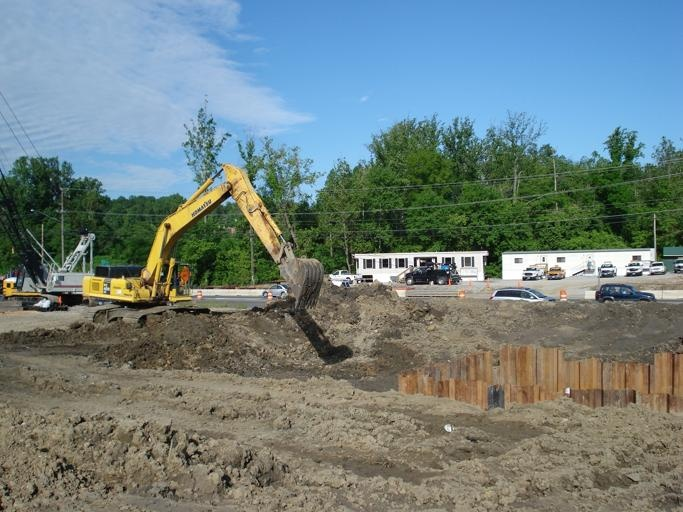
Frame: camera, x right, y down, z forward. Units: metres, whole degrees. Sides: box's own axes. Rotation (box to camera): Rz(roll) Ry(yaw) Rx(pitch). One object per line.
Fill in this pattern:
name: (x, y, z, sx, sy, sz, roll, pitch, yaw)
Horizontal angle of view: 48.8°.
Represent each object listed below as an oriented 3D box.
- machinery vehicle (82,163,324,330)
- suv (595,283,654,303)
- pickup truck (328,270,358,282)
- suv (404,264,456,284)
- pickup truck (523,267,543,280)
machinery vehicle: (-4.914, -0.133, 25.578, 8.668, 5.111, 3.159, -2, 0, 25)
suv: (12.914, 1.754, 34.623, 2.754, 1.162, 1.276, -3, 0, 22)
pickup truck: (0.150, 1.572, 55.460, 1.797, 0.713, 0.881, 4, 2, 24)
suv: (6.630, 1.353, 54.662, 2.793, 0.984, 1.554, 1, -1, 24)
pickup truck: (14.443, 1.366, 56.898, 1.380, 0.905, 1.948, 4, 12, 11)
